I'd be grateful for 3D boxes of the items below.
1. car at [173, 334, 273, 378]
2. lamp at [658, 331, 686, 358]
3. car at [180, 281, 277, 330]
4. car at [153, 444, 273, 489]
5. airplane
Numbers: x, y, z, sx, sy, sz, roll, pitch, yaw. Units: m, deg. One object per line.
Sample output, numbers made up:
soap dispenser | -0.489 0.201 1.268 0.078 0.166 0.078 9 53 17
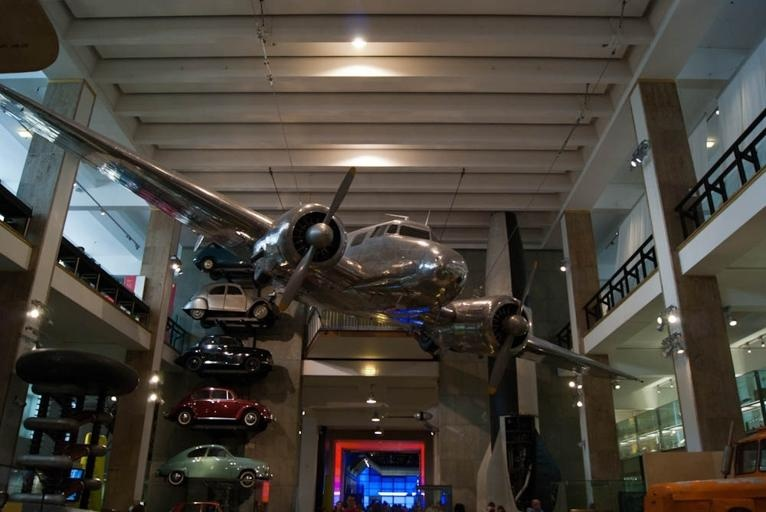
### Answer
car | -5.076 3.303 19.338 2.413 1.091 1.451 1 -18 0
lamp | 6.587 1.953 13.100 0.208 0.501 0.519 -4 0 -38
car | -5.009 1.765 19.805 2.450 1.181 1.573 1 -15 -3
car | -5.047 6.393 17.646 3.038 1.079 1.356 2 -24 2
airplane | -1.035 0.118 11.981 12.275 4.206 2.779 11 -29 -18
